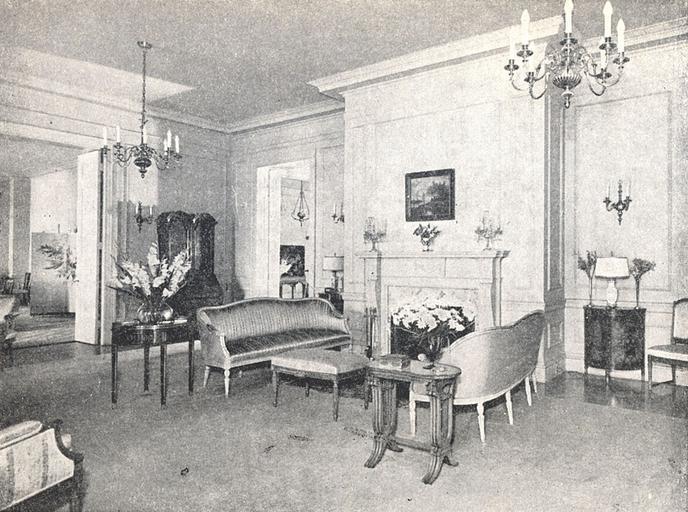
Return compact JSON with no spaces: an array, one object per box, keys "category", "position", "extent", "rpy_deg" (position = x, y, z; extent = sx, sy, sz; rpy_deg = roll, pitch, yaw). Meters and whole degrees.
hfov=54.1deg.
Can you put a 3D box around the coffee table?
[{"category":"coffee table","position":[0.536,1.234,5.341],"extent":[0.762,0.801,0.690],"rpy_deg":[3,14,13]}]

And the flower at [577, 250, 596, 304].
[{"category":"flower","position":[2.599,0.209,7.188],"extent":[0.148,0.554,0.270],"rpy_deg":[-10,16,-34]}]

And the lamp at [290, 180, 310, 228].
[{"category":"lamp","position":[-0.780,-1.004,12.592],"extent":[0.335,0.848,0.342],"rpy_deg":[2,-9,-15]}]

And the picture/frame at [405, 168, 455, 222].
[{"category":"picture/frame","position":[1.016,-0.705,7.698],"extent":[0.556,0.600,0.023],"rpy_deg":[-1,-3,36]}]

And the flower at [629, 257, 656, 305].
[{"category":"flower","position":[3.013,0.264,6.825],"extent":[0.232,0.509,0.117],"rpy_deg":[5,14,24]}]

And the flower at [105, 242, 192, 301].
[{"category":"flower","position":[-1.962,0.204,6.843],"extent":[0.937,0.586,1.012],"rpy_deg":[3,-3,-36]}]

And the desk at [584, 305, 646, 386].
[{"category":"desk","position":[2.784,0.929,7.200],"extent":[0.722,0.967,0.602],"rpy_deg":[0,-3,28]}]

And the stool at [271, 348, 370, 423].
[{"category":"stool","position":[-0.140,1.074,6.515],"extent":[0.776,0.538,0.607],"rpy_deg":[1,2,37]}]
